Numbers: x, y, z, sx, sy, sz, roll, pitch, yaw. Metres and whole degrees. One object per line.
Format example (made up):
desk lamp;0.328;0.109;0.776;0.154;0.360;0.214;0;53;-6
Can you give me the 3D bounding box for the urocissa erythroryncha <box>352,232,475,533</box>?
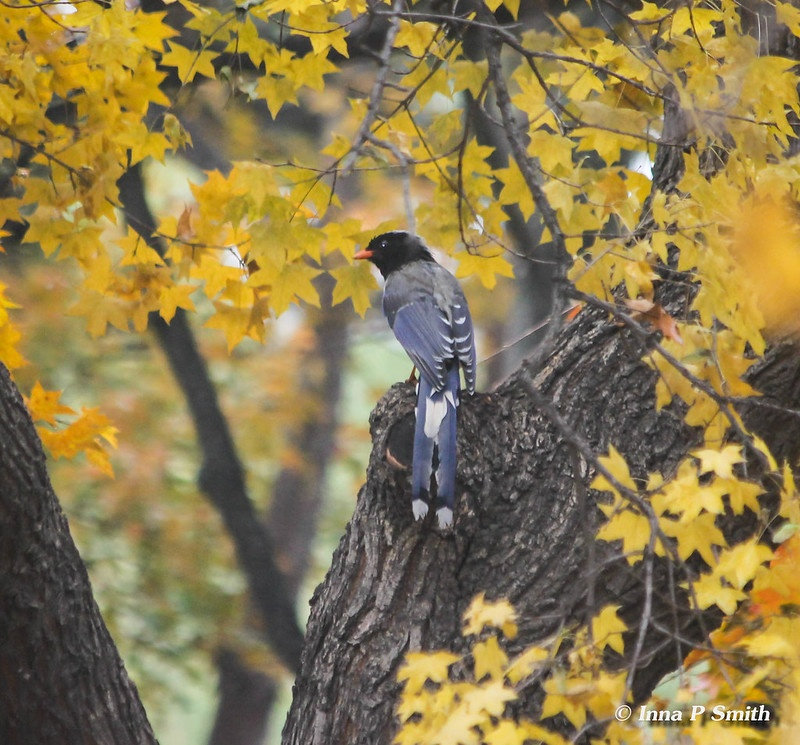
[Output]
urocissa erythroryncha;0.133;-0.103;12.823;0.476;1.879;0.769;2;-57;-7
